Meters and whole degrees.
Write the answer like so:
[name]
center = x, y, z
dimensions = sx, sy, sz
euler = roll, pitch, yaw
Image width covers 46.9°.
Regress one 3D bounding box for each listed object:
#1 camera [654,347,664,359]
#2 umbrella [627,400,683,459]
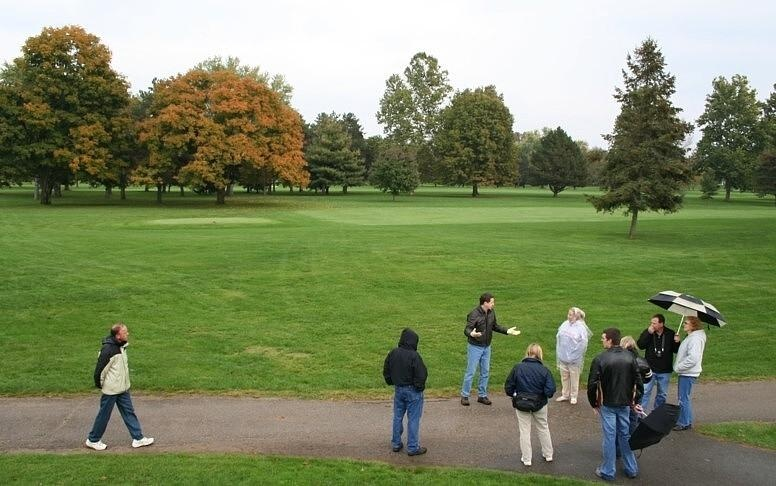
[camera]
center = 13.670, 5.490, 44.499
dimensions = 0.478, 0.591, 0.199
euler = 1, -4, 21
[umbrella]
center = 12.805, 8.698, 42.271
dimensions = 2.326, 1.043, 2.131
euler = -43, 7, -40
